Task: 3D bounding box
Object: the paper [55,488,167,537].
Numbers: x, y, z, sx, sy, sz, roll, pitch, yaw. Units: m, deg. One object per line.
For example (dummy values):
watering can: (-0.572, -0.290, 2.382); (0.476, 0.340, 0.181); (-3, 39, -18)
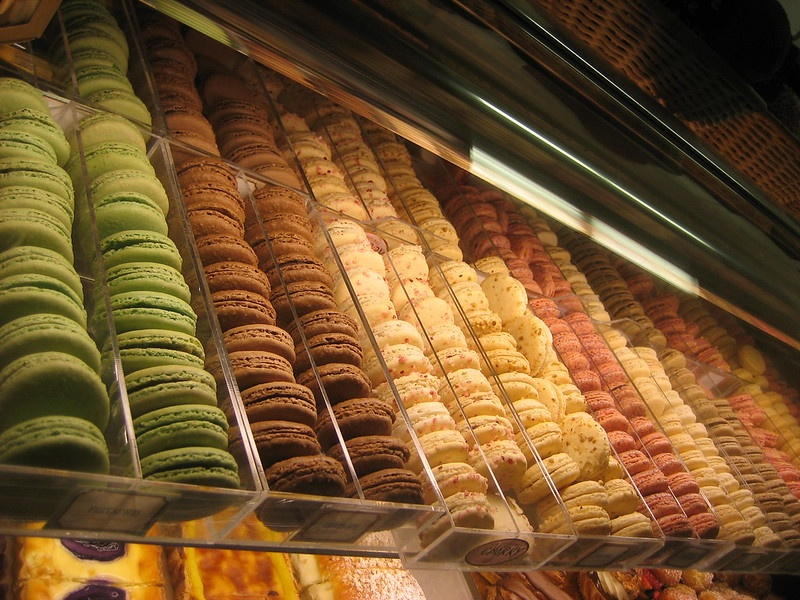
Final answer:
paper: (-0.737, 0.550, 1.793); (0.241, 0.063, 0.174); (21, -46, -38)
